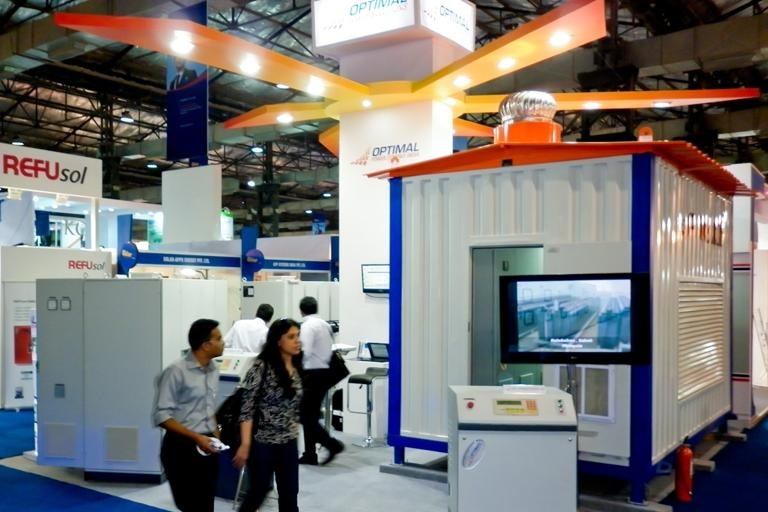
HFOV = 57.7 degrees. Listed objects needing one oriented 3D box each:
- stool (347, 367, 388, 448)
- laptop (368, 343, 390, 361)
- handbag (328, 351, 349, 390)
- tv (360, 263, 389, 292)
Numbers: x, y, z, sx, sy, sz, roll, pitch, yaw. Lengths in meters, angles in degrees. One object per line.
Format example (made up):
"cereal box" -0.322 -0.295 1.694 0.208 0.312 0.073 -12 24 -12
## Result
"stool" -0.257 2.088 9.814 0.532 1.037 0.814 1 -3 -3
"laptop" -0.093 1.328 9.589 0.409 0.265 0.170 -1 -3 35
"handbag" -0.456 1.125 6.856 0.179 0.370 0.401 1 -3 -3
"tv" -0.135 0.317 10.108 0.458 0.311 0.060 2 -5 33
